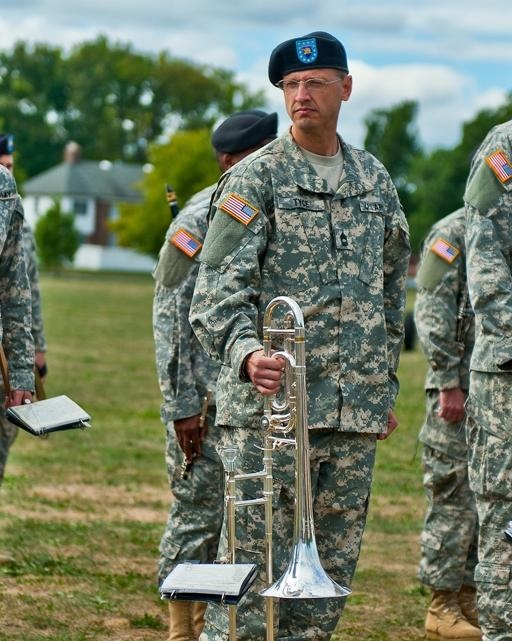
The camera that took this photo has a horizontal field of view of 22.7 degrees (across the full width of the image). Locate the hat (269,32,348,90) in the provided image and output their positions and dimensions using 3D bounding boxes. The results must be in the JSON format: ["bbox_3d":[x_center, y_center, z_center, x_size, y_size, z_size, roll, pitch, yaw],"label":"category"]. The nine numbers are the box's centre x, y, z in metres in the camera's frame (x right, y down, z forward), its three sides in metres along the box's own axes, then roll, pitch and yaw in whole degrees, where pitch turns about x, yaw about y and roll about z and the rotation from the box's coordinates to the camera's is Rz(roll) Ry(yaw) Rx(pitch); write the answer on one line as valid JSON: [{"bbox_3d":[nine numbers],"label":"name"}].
[{"bbox_3d":[0.248,-1.074,5.187,0.364,0.132,0.275,-6,0,36],"label":"hat"}]

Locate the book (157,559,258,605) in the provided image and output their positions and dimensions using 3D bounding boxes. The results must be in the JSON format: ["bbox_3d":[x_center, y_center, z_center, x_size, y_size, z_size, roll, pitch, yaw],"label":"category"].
[{"bbox_3d":[-0.166,0.923,4.465,0.319,0.119,0.309,3,4,0],"label":"book"}]

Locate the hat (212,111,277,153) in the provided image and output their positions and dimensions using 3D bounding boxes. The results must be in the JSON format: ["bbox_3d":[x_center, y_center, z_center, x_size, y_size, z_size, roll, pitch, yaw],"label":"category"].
[{"bbox_3d":[-0.052,-0.939,6.405,0.402,0.159,0.297,-12,11,14],"label":"hat"}]

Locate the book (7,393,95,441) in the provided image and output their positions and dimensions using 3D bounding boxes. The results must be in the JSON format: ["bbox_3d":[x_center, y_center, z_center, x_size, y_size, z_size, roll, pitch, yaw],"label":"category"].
[{"bbox_3d":[-0.913,0.432,5.542,0.338,0.167,0.425,2,5,-15],"label":"book"}]
